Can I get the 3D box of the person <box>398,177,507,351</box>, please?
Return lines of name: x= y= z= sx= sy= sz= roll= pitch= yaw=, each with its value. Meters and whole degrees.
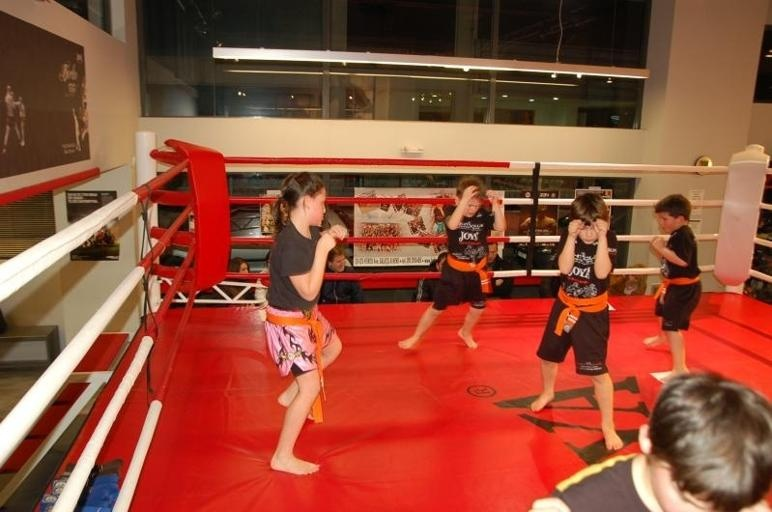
person: x=0.498 y=0.062 z=3.751 sx=0.708 sy=1.213 sz=0.294 roll=-2 pitch=16 yaw=-11

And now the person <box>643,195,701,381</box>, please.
person: x=1.991 y=0.169 z=3.690 sx=0.374 sy=1.164 sz=0.652 roll=10 pitch=17 yaw=28

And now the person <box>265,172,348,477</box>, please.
person: x=-0.430 y=0.332 z=2.821 sx=0.426 sy=1.488 sz=0.628 roll=0 pitch=15 yaw=-5
